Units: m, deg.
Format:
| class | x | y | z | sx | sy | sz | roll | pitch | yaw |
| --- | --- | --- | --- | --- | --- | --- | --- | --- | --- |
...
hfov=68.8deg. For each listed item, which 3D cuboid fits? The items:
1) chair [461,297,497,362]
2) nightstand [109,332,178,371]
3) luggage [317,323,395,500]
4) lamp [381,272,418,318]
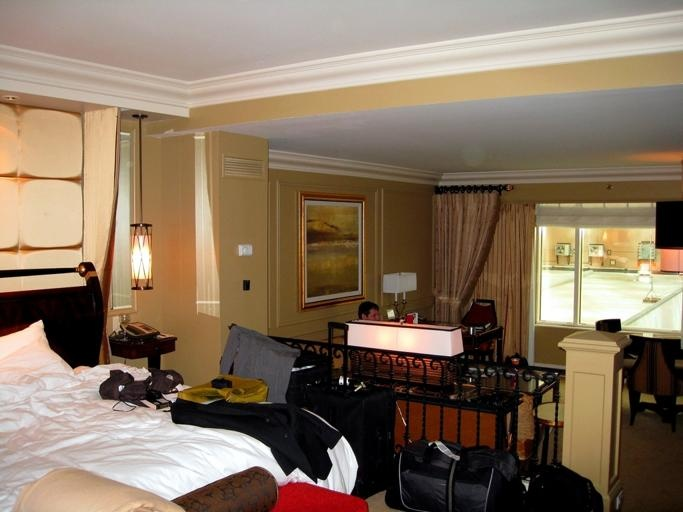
| class | x | y | z | sx | sy | sz | roll | pitch | yaw |
| --- | --- | --- | --- | --- | --- | --- | --- | --- | --- |
| chair | 2.389 | 1.303 | 8.647 | 0.768 | 1.179 | 0.862 | -2 | -11 | 12 |
| nightstand | -2.143 | 0.940 | 5.422 | 0.491 | 0.546 | 0.561 | 3 | 5 | 34 |
| luggage | 0.140 | 1.287 | 4.302 | 0.877 | 1.201 | 0.893 | 3 | -6 | -4 |
| lamp | 0.957 | 0.657 | 8.534 | 0.338 | 1.006 | 0.784 | 0 | 0 | 27 |
